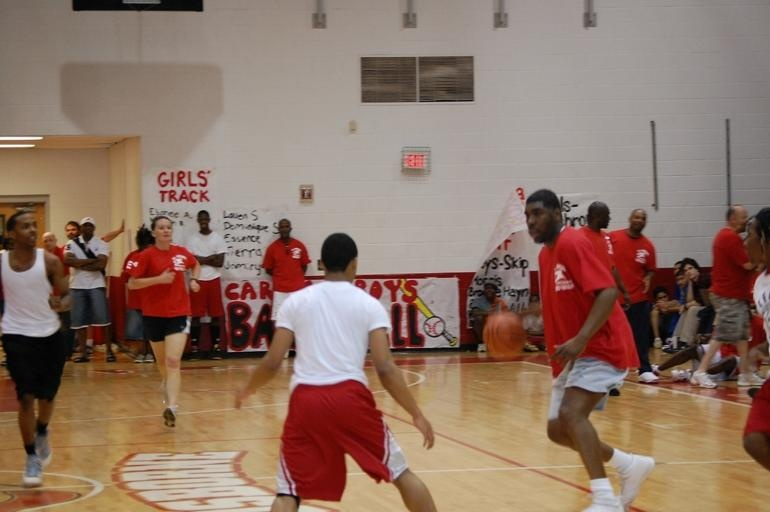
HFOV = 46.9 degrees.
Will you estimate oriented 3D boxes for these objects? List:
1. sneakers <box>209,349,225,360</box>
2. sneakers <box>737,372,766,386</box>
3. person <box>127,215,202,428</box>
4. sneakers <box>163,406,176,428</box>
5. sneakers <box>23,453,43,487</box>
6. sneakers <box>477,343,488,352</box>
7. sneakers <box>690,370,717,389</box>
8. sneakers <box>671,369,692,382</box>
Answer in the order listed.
[{"bbox_3d":[-3.301,1.931,17.381,0.214,0.149,0.214,2,-3,14],"label":"sneakers"},{"bbox_3d":[5.659,1.908,13.715,0.439,0.186,0.175,-1,-1,16],"label":"sneakers"},{"bbox_3d":[-2.955,0.868,11.909,0.688,2.775,0.879,1,2,15],"label":"person"},{"bbox_3d":[-2.820,2.129,11.628,0.147,0.167,0.393,2,-40,-10],"label":"sneakers"},{"bbox_3d":[-3.837,2.321,9.638,0.190,0.307,0.286,0,2,-24],"label":"sneakers"},{"bbox_3d":[1.980,1.846,17.854,0.217,0.162,0.398,-1,-10,5],"label":"sneakers"},{"bbox_3d":[4.964,1.940,13.904,0.185,0.230,0.542,3,-5,-28],"label":"sneakers"},{"bbox_3d":[4.754,1.953,14.432,0.164,0.142,0.334,0,-11,-24],"label":"sneakers"}]
